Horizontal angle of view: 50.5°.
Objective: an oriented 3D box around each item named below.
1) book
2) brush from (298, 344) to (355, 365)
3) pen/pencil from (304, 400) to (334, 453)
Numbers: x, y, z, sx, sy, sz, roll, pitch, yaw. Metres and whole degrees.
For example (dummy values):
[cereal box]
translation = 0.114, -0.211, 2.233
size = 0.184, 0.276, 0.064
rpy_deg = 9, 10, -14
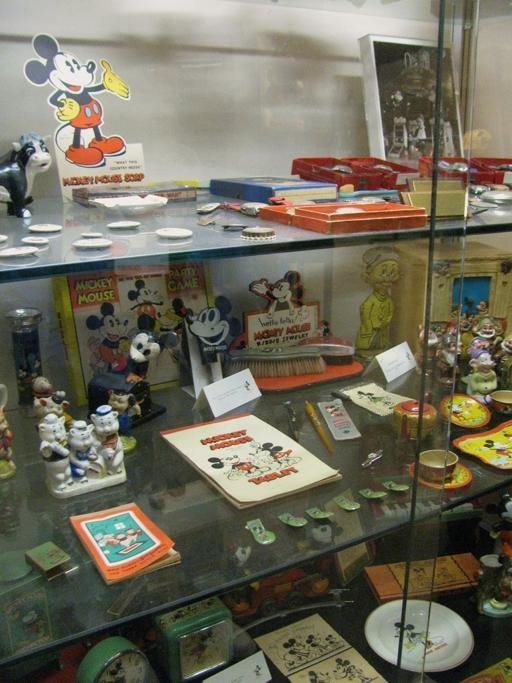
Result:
[book]
translation = -0.014, 0.180, 0.870
size = 0.192, 0.020, 0.237
rpy_deg = -13, 24, -38
[brush]
translation = 0.145, 0.021, 1.019
size = 0.068, 0.026, 0.048
rpy_deg = 0, 9, 4
[pen/pencil]
translation = 0.097, 0.140, 0.941
size = 0.017, 0.016, 0.138
rpy_deg = -29, 32, -1
